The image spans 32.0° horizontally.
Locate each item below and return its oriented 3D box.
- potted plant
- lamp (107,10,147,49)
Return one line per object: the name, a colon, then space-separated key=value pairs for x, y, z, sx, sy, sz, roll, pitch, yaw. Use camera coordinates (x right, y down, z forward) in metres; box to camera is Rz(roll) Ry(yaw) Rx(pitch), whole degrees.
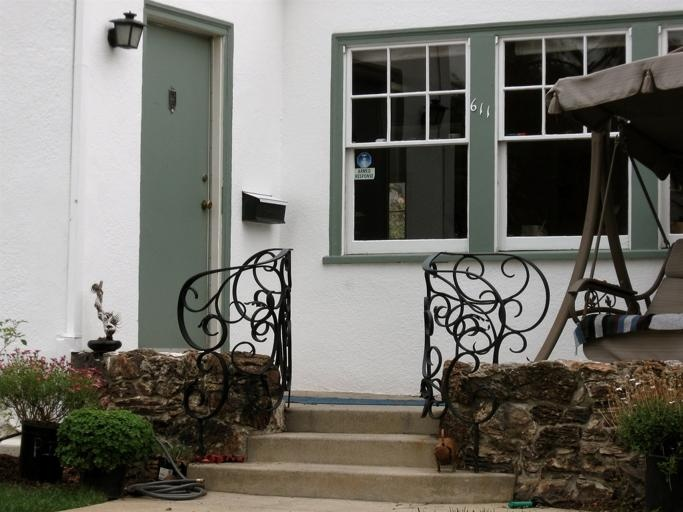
potted plant: x=-1.702 y=1.456 z=9.101 sx=0.651 sy=0.607 sz=0.559 roll=-6 pitch=-15 yaw=33
lamp: x=-1.835 y=-1.922 z=10.174 sx=0.309 sy=0.342 sz=0.320 roll=5 pitch=-7 yaw=-5
